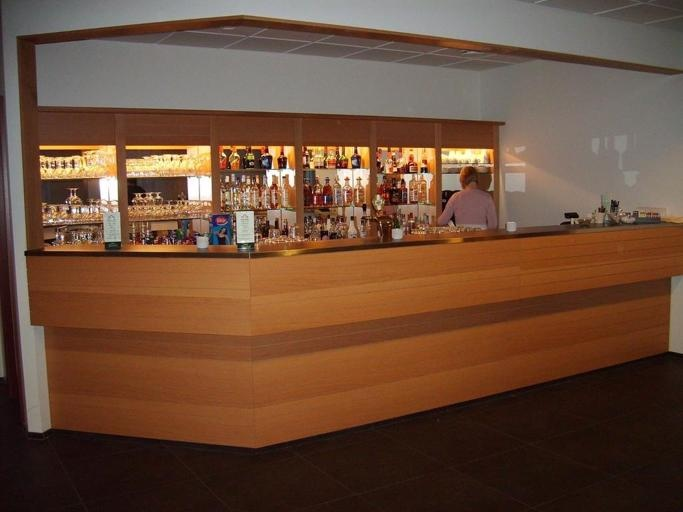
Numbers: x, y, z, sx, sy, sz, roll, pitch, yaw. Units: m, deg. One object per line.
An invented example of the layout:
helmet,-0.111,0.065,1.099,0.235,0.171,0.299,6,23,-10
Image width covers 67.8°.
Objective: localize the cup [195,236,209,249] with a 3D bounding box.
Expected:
cup,-1.109,-0.112,3.954,0.101,0.096,0.101,3,7,0
